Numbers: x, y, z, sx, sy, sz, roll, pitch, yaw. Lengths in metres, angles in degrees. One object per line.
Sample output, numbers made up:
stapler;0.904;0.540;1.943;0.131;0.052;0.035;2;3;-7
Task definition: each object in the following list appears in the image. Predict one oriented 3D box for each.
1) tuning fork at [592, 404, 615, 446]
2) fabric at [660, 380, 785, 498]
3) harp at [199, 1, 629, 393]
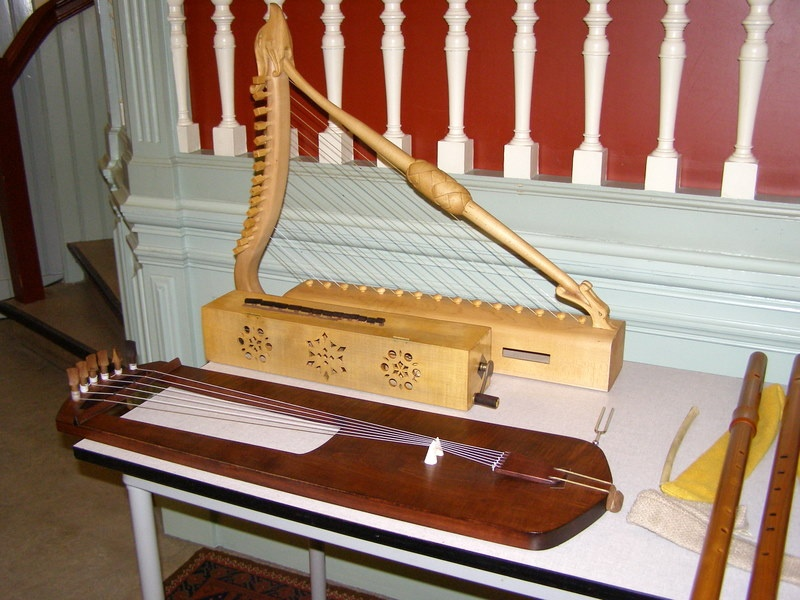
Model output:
tuning fork;0.430;0.256;1.432;0.030;0.024;0.147;8;23;27
fabric;0.645;0.292;1.331;0.384;0.040;0.130;-39;32;-28
harp;0.078;-0.267;1.727;1.081;0.826;0.174;11;29;23
